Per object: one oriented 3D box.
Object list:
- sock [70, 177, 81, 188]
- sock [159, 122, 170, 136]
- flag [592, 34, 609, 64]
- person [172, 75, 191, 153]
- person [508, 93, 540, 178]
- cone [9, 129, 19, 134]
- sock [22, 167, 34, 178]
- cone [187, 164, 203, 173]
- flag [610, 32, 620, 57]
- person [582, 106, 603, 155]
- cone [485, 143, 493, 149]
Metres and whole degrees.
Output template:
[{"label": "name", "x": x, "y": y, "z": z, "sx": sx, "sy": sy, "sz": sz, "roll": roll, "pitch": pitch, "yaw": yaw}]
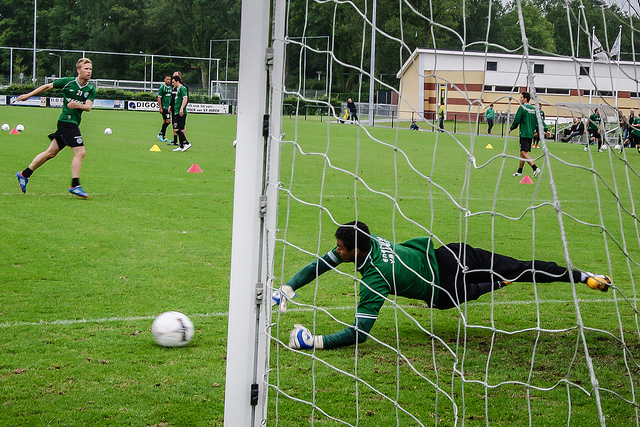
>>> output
[{"label": "sock", "x": -4.088, "y": -0.521, "z": 12.938, "sx": 0.130, "sy": 0.215, "sz": 0.378, "roll": -1, "pitch": 13, "yaw": -19}, {"label": "sock", "x": -4.250, "y": -2.303, "z": 21.068, "sx": 0.160, "sy": 0.394, "sz": 0.581, "roll": -1, "pitch": 13, "yaw": -18}, {"label": "flag", "x": 3.236, "y": -1.904, "z": 8.982, "sx": 0.183, "sy": 0.307, "sz": 0.588, "roll": 7, "pitch": 13, "yaw": 17}, {"label": "person", "x": -3.390, "y": -2.424, "z": 18.919, "sx": 0.424, "sy": 1.873, "sz": 0.785, "roll": 1, "pitch": 12, "yaw": -11}, {"label": "person", "x": 4.495, "y": -1.755, "z": 17.100, "sx": 0.691, "sy": 1.894, "sz": 0.688, "roll": 4, "pitch": 2, "yaw": 4}, {"label": "cone", "x": -8.295, "y": -2.222, "z": 21.018, "sx": 0.242, "sy": 0.119, "sz": 0.246, "roll": -1, "pitch": 4, "yaw": -22}, {"label": "sock", "x": -4.853, "y": -0.679, "z": 12.855, "sx": 0.103, "sy": 0.133, "sz": 0.310, "roll": 26, "pitch": 12, "yaw": -26}, {"label": "cone", "x": -2.577, "y": -0.935, "z": 15.948, "sx": 0.307, "sy": 0.165, "sz": 0.386, "roll": 1, "pitch": 13, "yaw": -11}, {"label": "flag", "x": 3.690, "y": -2.113, "z": 9.729, "sx": 0.063, "sy": 0.154, "sz": 0.657, "roll": 21, "pitch": 38, "yaw": 16}, {"label": "person", "x": 8.147, "y": -2.474, "z": 23.033, "sx": 0.575, "sy": 1.315, "sz": 0.624, "roll": 1, "pitch": 5, "yaw": -9}, {"label": "cone", "x": 5.286, "y": -2.129, "z": 24.280, "sx": 0.175, "sy": 0.136, "sz": 0.115, "roll": -1, "pitch": -6, "yaw": 11}]
